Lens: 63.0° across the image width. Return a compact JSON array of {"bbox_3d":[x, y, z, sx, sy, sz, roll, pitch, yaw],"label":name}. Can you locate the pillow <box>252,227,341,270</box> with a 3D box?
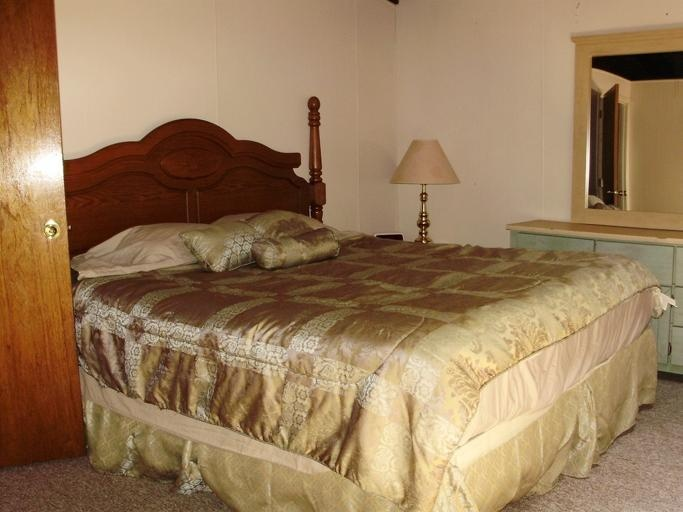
[{"bbox_3d":[-0.239,-0.096,3.103,0.213,0.158,0.410,25,26,32],"label":"pillow"}]

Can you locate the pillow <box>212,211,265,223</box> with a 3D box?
[{"bbox_3d":[-0.668,-0.247,3.557,0.149,0.044,0.158,5,12,16],"label":"pillow"}]
